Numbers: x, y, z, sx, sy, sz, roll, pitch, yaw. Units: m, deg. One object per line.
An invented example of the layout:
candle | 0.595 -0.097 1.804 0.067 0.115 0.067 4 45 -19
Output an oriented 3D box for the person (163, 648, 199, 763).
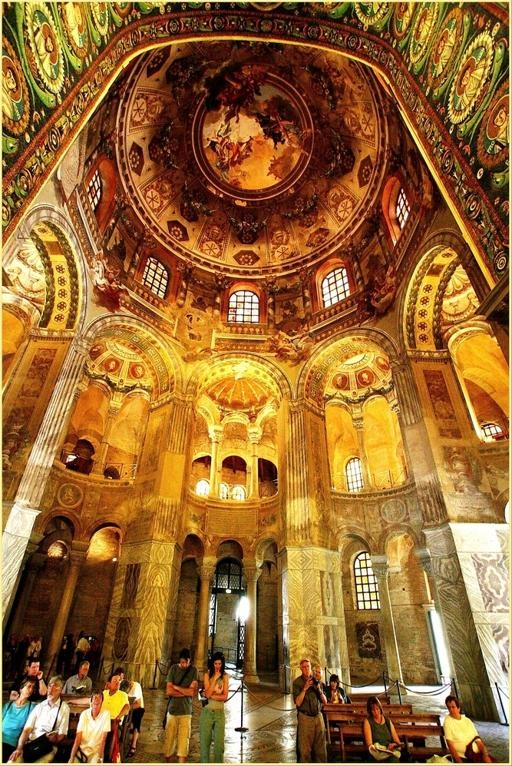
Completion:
person | -0.827 3.555 4.132 0.316 0.985 0.822 6 -35 -9

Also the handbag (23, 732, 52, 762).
handbag | -1.924 3.279 3.351 0.073 0.195 0.198 -33 -33 20

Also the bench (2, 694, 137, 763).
bench | -1.686 3.218 3.488 0.902 0.528 0.759 9 -37 -12

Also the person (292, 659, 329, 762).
person | 0.573 3.574 4.079 0.329 0.866 0.392 -4 -34 5
